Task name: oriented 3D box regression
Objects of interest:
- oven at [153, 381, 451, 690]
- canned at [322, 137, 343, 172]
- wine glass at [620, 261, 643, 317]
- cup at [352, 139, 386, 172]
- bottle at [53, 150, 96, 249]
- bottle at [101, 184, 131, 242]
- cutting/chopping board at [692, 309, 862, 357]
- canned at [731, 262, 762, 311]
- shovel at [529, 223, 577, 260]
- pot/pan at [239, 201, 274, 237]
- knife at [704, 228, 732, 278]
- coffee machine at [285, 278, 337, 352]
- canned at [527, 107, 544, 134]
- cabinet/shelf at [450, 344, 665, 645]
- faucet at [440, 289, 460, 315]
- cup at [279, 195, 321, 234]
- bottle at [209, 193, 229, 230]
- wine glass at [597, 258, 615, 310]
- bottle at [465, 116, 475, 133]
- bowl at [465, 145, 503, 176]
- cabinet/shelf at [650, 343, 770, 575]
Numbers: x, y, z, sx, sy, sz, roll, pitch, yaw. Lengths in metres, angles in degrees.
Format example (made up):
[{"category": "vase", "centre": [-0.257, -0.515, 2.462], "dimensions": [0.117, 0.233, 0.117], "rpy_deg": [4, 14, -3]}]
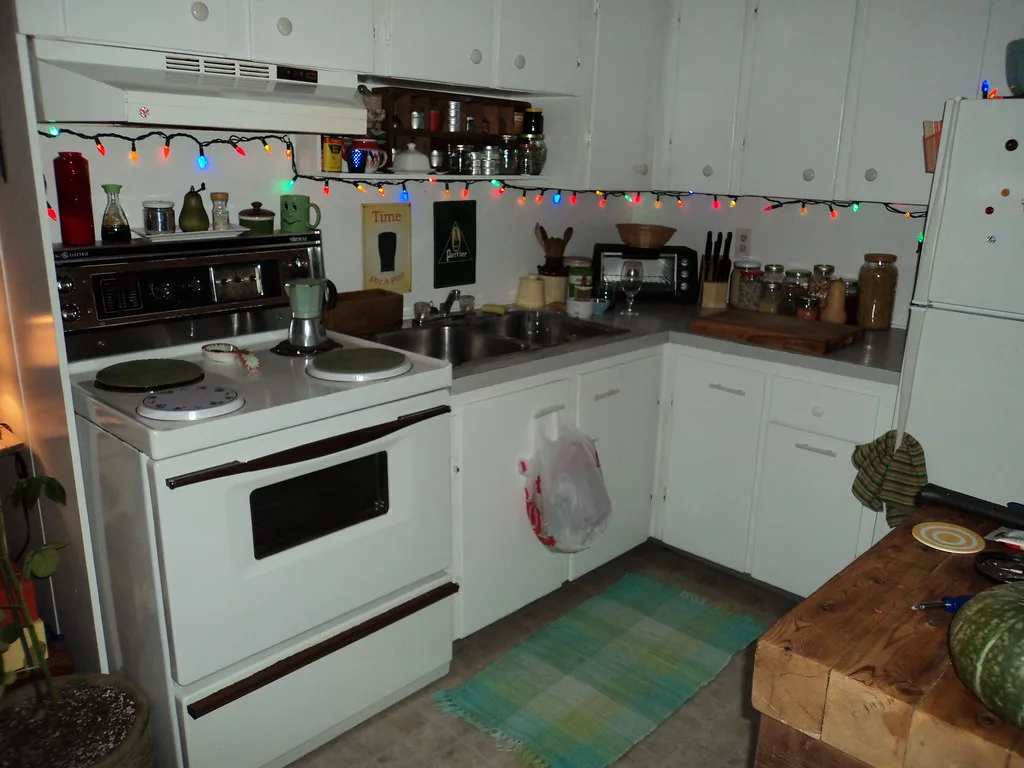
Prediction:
[{"category": "oven", "centre": [-0.743, 0.433, 2.344], "dimensions": [0.691, 0.777, 1.043], "rpy_deg": [3, 11, 35]}, {"category": "canned", "centre": [-0.675, -0.863, 2.679], "dimensions": [0.086, 0.155, 0.048], "rpy_deg": [-15, 36, -34]}, {"category": "wine glass", "centre": [0.583, -0.473, 3.485], "dimensions": [0.112, 0.228, 0.271], "rpy_deg": [2, 18, 9]}, {"category": "cup", "centre": [-0.551, -0.872, 2.740], "dimensions": [0.067, 0.116, 0.149], "rpy_deg": [11, 21, 33]}, {"category": "bottle", "centre": [-1.317, -0.554, 2.143], "dimensions": [0.095, 0.259, 0.111], "rpy_deg": [-10, 20, -26]}, {"category": "bottle", "centre": [-1.253, -0.533, 2.240], "dimensions": [0.082, 0.167, 0.183], "rpy_deg": [-10, 20, -28]}, {"category": "cutting/chopping board", "centre": [1.138, -0.240, 3.105], "dimensions": [0.647, 0.077, 0.424], "rpy_deg": [13, 22, 35]}, {"category": "canned", "centre": [1.145, -0.488, 3.530], "dimensions": [0.194, 0.239, 0.080], "rpy_deg": [16, 24, 42]}, {"category": "shovel", "centre": [0.209, -0.705, 3.539], "dimensions": [0.180, 0.194, 0.178], "rpy_deg": [8, 17, 31]}, {"category": "pot/pan", "centre": [-0.900, -0.576, 2.513], "dimensions": [0.118, 0.113, 0.121], "rpy_deg": [21, 27, 39]}, {"category": "knife", "centre": [1.045, -0.656, 3.633], "dimensions": [0.136, 0.236, 0.227], "rpy_deg": [6, 19, 21]}, {"category": "coffee machine", "centre": [-0.709, -0.243, 2.491], "dimensions": [0.145, 0.245, 0.215], "rpy_deg": [16, 20, 42]}, {"category": "canned", "centre": [0.093, -1.147, 3.141], "dimensions": [0.102, 0.104, 0.077], "rpy_deg": [-1, 16, -9]}, {"category": "cabinet/shelf", "centre": [0.153, 0.424, 2.823], "dimensions": [0.491, 0.835, 0.927], "rpy_deg": [13, 22, 42]}, {"category": "faucet", "centre": [-0.275, -0.363, 3.182], "dimensions": [0.080, 0.120, 0.228], "rpy_deg": [0, 18, 0]}, {"category": "cup", "centre": [-0.744, -0.624, 2.645], "dimensions": [0.177, 0.140, 0.108], "rpy_deg": [6, 13, 13]}, {"category": "bottle", "centre": [-1.013, -0.600, 2.477], "dimensions": [0.063, 0.118, 0.206], "rpy_deg": [-7, 19, -20]}, {"category": "wine glass", "centre": [0.472, -0.487, 3.530], "dimensions": [0.078, 0.221, 0.128], "rpy_deg": [1, 18, 6]}, {"category": "bottle", "centre": [-0.180, -1.097, 3.029], "dimensions": [0.025, 0.061, 0.059], "rpy_deg": [11, 21, 34]}, {"category": "bowl", "centre": [-0.121, -0.926, 3.027], "dimensions": [0.134, 0.101, 0.138], "rpy_deg": [0, 12, 0]}, {"category": "cabinet/shelf", "centre": [0.838, 0.459, 3.349], "dimensions": [0.564, 0.563, 0.929], "rpy_deg": [10, 55, 9]}]
